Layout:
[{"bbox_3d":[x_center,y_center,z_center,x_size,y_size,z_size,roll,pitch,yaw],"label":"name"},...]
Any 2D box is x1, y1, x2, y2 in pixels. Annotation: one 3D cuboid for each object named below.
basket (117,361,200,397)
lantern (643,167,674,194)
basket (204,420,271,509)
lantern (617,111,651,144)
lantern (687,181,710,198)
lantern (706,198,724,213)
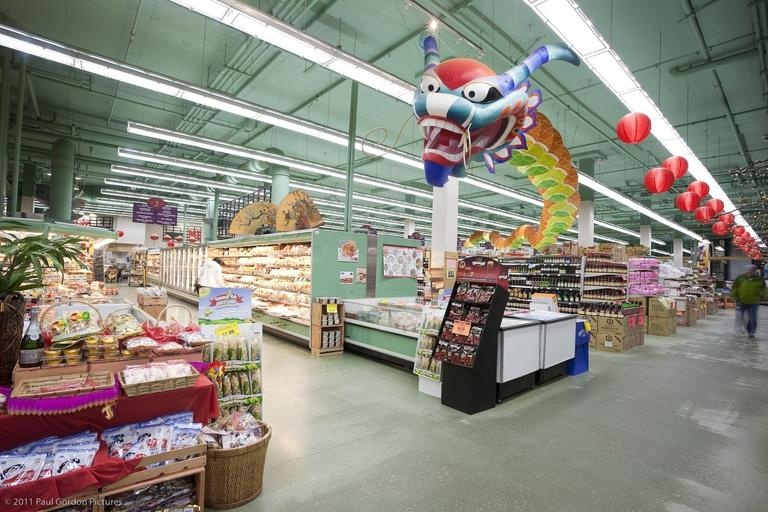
[{"bbox_3d":[-2.569,1.366,5.025,0.550,0.154,0.409,0,8,-33],"label":"basket"},{"bbox_3d":[5.833,-1.629,9.307,0.501,0.528,0.405,0,-1,35],"label":"lantern"},{"bbox_3d":[-1.791,2.601,5.361,0.850,0.588,0.748,-8,-15,39],"label":"basket"},{"bbox_3d":[4.625,-2.409,8.173,0.495,0.613,0.434,0,-1,27],"label":"lantern"},{"bbox_3d":[7.572,-1.615,10.598,0.400,0.419,0.533,0,-1,32],"label":"lantern"},{"bbox_3d":[9.452,-1.435,12.524,0.490,0.499,0.501,5,8,35],"label":"lantern"}]
